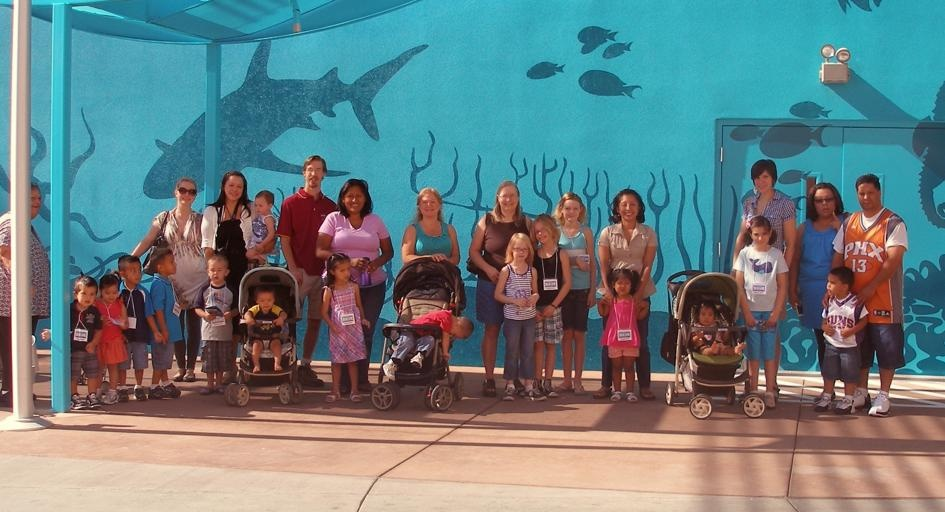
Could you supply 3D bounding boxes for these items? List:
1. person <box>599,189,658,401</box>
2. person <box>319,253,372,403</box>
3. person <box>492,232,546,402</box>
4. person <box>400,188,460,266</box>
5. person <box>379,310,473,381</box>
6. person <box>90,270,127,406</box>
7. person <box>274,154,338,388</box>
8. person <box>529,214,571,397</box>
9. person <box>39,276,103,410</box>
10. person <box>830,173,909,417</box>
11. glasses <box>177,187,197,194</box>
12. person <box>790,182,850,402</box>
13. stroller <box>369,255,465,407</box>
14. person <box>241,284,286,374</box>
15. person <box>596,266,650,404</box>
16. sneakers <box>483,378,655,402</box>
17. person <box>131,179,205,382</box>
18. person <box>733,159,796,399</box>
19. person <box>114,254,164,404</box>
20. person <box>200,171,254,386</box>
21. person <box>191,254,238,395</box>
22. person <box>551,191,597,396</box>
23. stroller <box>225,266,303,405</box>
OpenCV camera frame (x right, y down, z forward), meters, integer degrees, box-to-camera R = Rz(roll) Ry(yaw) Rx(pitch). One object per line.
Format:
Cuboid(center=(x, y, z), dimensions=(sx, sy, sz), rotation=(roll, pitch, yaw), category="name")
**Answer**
Cuboid(center=(2.062, 0.539, 12.513), dimensions=(0.871, 2.795, 0.892), rotation=(-1, 5, 5), category="person")
Cuboid(center=(-1.637, 0.898, 12.313), dimensions=(0.688, 1.776, 0.770), rotation=(1, 0, 14), category="person")
Cuboid(center=(0.612, 0.782, 12.299), dimensions=(0.642, 2.094, 0.600), rotation=(1, -1, -17), category="person")
Cuboid(center=(-0.551, -0.355, 12.583), dimensions=(0.845, 1.039, 0.586), rotation=(-3, 8, -34), category="person")
Cuboid(center=(-0.549, 1.063, 11.890), dimensions=(0.663, 0.586, 1.252), rotation=(17, 27, 23), category="person")
Cuboid(center=(-4.599, 1.074, 12.114), dimensions=(0.526, 1.453, 0.536), rotation=(1, 0, -10), category="person")
Cuboid(center=(-2.103, 0.251, 12.663), dimensions=(1.114, 3.002, 1.062), rotation=(2, 3, -32), category="person")
Cuboid(center=(1.017, 0.659, 12.682), dimensions=(0.746, 2.109, 0.716), rotation=(1, 0, 3), category="person")
Cuboid(center=(-4.868, 1.089, 11.817), dimensions=(0.496, 1.640, 0.502), rotation=(-2, 4, -42), category="person")
Cuboid(center=(5.082, 0.468, 12.003), dimensions=(0.953, 2.869, 0.946), rotation=(1, 1, 28), category="person")
Cuboid(center=(-3.799, -0.862, 12.509), dimensions=(0.213, 0.099, 0.058), rotation=(-3, 15, -16), category="glasses")
Cuboid(center=(4.620, 0.376, 12.427), dimensions=(0.859, 2.621, 0.748), rotation=(-1, 11, 18), category="person")
Cuboid(center=(-0.659, 0.928, 12.046), dimensions=(1.007, 1.734, 1.316), rotation=(5, 15, 10), category="stroller")
Cuboid(center=(-2.622, 0.953, 12.146), dimensions=(0.511, 1.066, 0.516), rotation=(1, -2, 5), category="person")
Cuboid(center=(1.933, 1.040, 12.441), dimensions=(0.643, 1.616, 0.491), rotation=(1, 1, 8), category="person")
Cuboid(center=(1.260, 1.794, 12.509), dimensions=(0.677, 0.117, 0.195), rotation=(8, 46, 12), category="sneakers")
Cuboid(center=(-4.056, 0.376, 12.963), dimensions=(1.024, 2.886, 0.866), rotation=(0, 0, 1), category="person")
Cuboid(center=(3.863, 0.289, 12.405), dimensions=(0.925, 3.033, 0.984), rotation=(2, 2, 27), category="person")
Cuboid(center=(-4.360, 0.942, 12.291), dimensions=(0.460, 1.803, 0.616), rotation=(0, 1, -19), category="person")
Cuboid(center=(-3.216, 0.164, 12.869), dimensions=(0.788, 2.518, 0.772), rotation=(0, 0, -3), category="person")
Cuboid(center=(-3.344, 0.899, 12.498), dimensions=(0.605, 1.810, 0.637), rotation=(1, -1, -8), category="person")
Cuboid(center=(1.306, 0.496, 12.549), dimensions=(0.740, 2.559, 0.732), rotation=(0, -3, 29), category="person")
Cuboid(center=(-2.638, 0.993, 12.135), dimensions=(0.977, 1.602, 1.306), rotation=(1, 12, -7), category="stroller")
